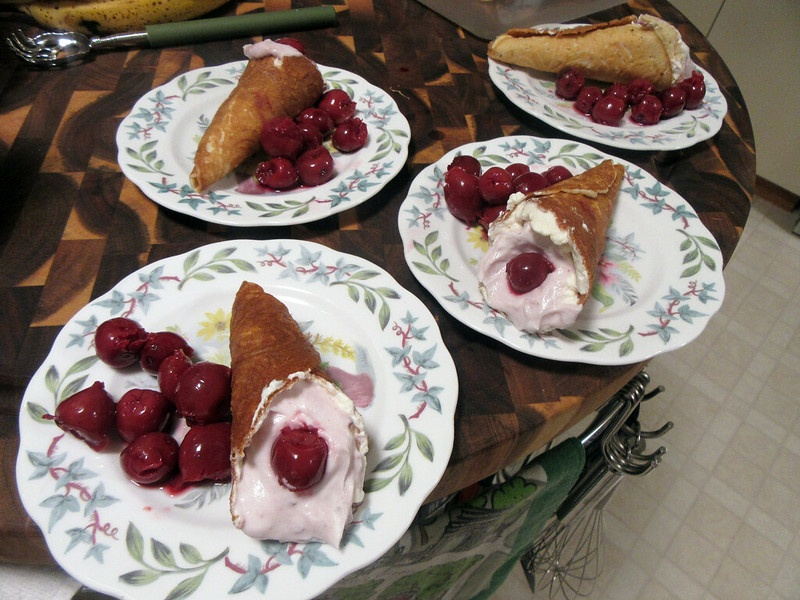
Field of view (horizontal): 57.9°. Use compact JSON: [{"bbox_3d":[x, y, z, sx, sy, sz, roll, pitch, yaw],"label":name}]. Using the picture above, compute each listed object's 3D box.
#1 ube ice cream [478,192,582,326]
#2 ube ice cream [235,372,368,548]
[{"bbox_3d":[0.220,-0.045,1.245,0.161,0.088,0.225,-30,80,-11],"label":"ube ice cream"},{"bbox_3d":[-0.146,0.249,1.085,0.187,0.075,0.252,17,77,-3],"label":"ube ice cream"}]
